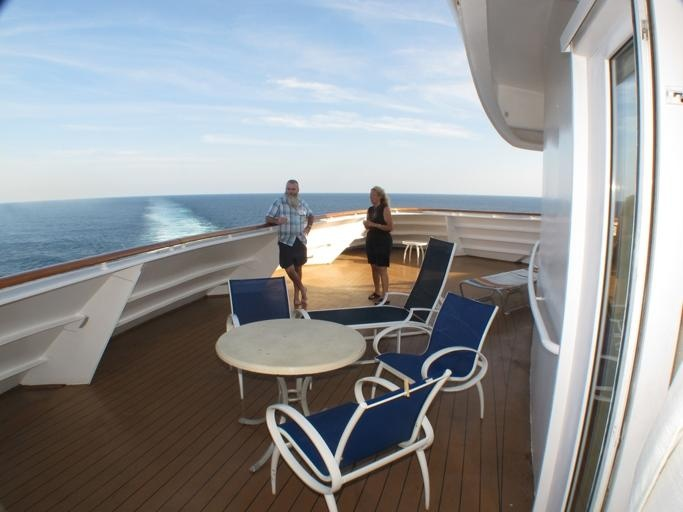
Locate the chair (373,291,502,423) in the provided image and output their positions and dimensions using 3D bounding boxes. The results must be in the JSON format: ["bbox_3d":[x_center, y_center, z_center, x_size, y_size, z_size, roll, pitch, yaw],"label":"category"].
[{"bbox_3d":[0.695,0.810,3.182,0.844,0.967,0.847,6,5,33],"label":"chair"}]

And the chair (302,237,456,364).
[{"bbox_3d":[0.631,0.352,4.616,2.034,1.453,0.806,0,7,-27],"label":"chair"}]

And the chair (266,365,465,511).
[{"bbox_3d":[0.082,1.002,2.241,0.934,0.924,0.637,-3,12,-13],"label":"chair"}]

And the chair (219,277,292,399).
[{"bbox_3d":[-0.766,0.704,3.979,0.836,1.220,0.829,-5,13,-18],"label":"chair"}]

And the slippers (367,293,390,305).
[{"bbox_3d":[0.467,0.618,5.969,0.172,0.118,0.314,1,2,39],"label":"slippers"}]

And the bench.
[{"bbox_3d":[2.289,0.489,5.901,0.980,0.282,0.665,-19,23,-27],"label":"bench"}]
